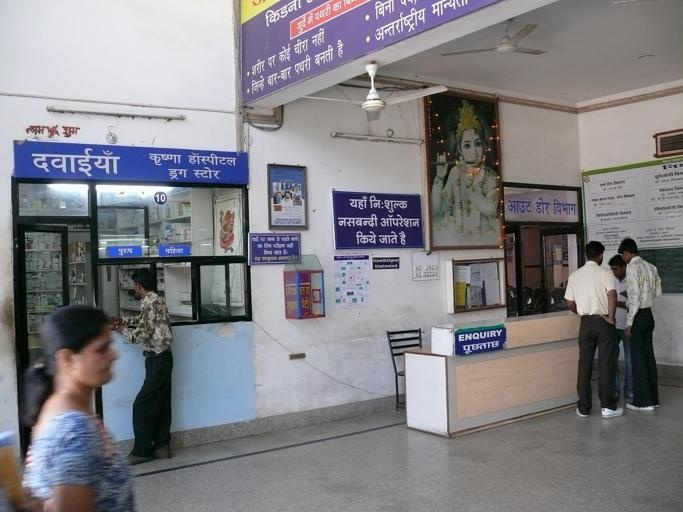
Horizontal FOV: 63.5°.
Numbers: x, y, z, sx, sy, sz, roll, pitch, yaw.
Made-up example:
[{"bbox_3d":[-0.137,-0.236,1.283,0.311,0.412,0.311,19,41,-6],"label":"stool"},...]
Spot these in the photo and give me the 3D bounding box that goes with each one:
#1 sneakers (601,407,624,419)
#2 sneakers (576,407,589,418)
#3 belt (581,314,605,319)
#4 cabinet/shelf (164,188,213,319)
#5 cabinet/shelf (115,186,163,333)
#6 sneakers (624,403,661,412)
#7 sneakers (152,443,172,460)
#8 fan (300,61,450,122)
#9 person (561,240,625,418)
[{"bbox_3d":[3.276,1.893,6.738,0.325,0.142,0.120,-6,2,-28],"label":"sneakers"},{"bbox_3d":[2.937,1.919,6.753,0.055,0.074,0.159,0,3,-1],"label":"sneakers"},{"bbox_3d":[3.065,0.738,6.731,0.272,0.036,0.045,-1,1,43],"label":"belt"},{"bbox_3d":[-1.940,-0.084,6.504,0.347,1.732,0.462,-3,25,-17],"label":"cabinet/shelf"},{"bbox_3d":[-2.359,0.068,6.275,0.115,1.167,0.352,13,-4,-40],"label":"cabinet/shelf"},{"bbox_3d":[3.776,1.877,6.946,0.353,0.149,0.135,-10,-11,38],"label":"sneakers"},{"bbox_3d":[-1.935,2.091,5.902,0.087,0.109,0.237,4,-3,-37],"label":"sneakers"},{"bbox_3d":[0.345,-2.055,6.940,0.995,0.405,1.033,-6,5,-43],"label":"fan"},{"bbox_3d":[3.093,0.896,6.801,0.603,2.113,0.510,-2,1,28],"label":"person"}]
